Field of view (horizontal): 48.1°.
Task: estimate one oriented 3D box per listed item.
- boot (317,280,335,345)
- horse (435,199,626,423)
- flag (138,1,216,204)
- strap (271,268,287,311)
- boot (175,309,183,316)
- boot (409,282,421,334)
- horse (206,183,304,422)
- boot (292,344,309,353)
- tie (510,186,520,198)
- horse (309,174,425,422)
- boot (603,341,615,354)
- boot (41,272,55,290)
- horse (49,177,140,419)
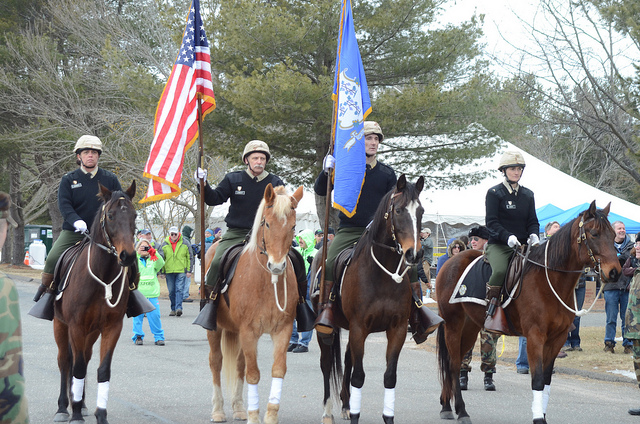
[{"bbox_3d":[0.169,1.966,14.033,0.337,1.180,0.367,5,-3,-31],"label":"boot"},{"bbox_3d":[3.970,2.002,14.381,1.471,4.418,3.741,6,-4,-44],"label":"horse"},{"bbox_3d":[-2.828,-2.250,14.458,1.261,4.236,0.631,4,-3,-19],"label":"flag"},{"bbox_3d":[-0.784,1.467,13.325,0.333,0.735,0.219,4,-3,-17],"label":"strap"},{"bbox_3d":[-5.094,3.584,25.494,0.200,0.190,0.495,0,-4,-2],"label":"boot"},{"bbox_3d":[1.823,1.821,14.004,0.196,0.810,0.454,7,-11,1],"label":"boot"},{"bbox_3d":[-1.255,1.753,13.733,1.183,4.654,2.070,5,-4,-28],"label":"horse"},{"bbox_3d":[-0.591,3.837,20.126,0.161,0.204,0.455,-4,-12,38],"label":"boot"},{"bbox_3d":[4.061,-0.411,15.058,0.158,0.221,0.050,-1,-10,-1],"label":"tie"},{"bbox_3d":[0.940,1.704,13.609,1.022,4.814,2.403,6,-4,-41],"label":"horse"},{"bbox_3d":[7.980,3.743,19.973,0.334,0.352,0.246,10,-29,0],"label":"boot"},{"bbox_3d":[-5.536,1.401,14.499,0.270,0.328,0.349,1,-13,-4],"label":"boot"},{"bbox_3d":[-4.331,1.663,13.804,2.231,4.613,0.945,0,-4,43],"label":"horse"}]
